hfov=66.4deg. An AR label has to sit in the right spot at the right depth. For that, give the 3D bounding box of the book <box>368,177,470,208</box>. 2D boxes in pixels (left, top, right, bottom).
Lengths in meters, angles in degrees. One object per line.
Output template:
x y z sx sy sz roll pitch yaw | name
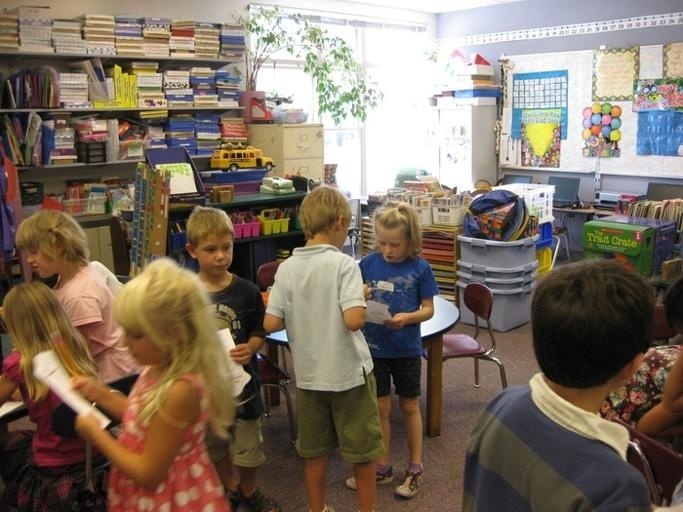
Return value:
0.905 -0.710 5.833 0.753 0.238 0.772 4 9 40 | book

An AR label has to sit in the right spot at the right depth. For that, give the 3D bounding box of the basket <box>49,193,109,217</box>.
-2.645 -0.506 5.269 0.431 0.162 0.278 -3 5 -37 | basket

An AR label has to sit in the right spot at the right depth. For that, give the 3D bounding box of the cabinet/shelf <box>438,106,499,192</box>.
1.947 -1.709 7.978 0.940 1.304 0.574 0 14 6 | cabinet/shelf

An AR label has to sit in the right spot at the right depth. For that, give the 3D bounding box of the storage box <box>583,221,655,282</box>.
1.990 -0.065 3.664 0.251 0.400 0.440 -6 10 -34 | storage box

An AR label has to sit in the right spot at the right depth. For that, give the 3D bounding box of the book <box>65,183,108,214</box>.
-2.604 -0.539 5.333 0.354 0.273 0.336 -2 3 -36 | book

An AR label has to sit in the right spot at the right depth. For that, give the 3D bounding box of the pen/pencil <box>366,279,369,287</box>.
0.141 0.143 2.757 0.027 0.028 0.025 2 5 2 | pen/pencil

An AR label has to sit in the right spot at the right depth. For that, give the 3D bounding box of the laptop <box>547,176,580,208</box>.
2.934 -0.835 6.862 0.468 0.471 0.399 4 12 36 | laptop

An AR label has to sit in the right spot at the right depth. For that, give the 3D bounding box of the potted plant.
-0.458 -2.474 6.814 1.883 1.458 0.862 -9 16 -30 | potted plant

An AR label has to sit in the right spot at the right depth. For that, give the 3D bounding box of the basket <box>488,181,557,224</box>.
2.033 -0.569 5.460 0.449 0.311 0.695 3 10 18 | basket

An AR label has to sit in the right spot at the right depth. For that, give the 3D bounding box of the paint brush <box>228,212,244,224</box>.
-0.989 -0.359 4.943 0.115 0.120 0.094 1 8 20 | paint brush
